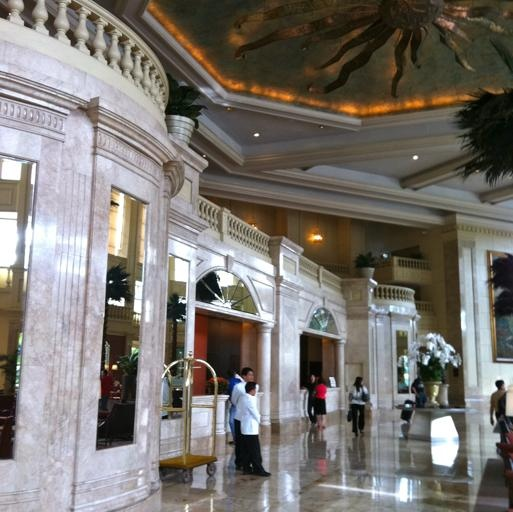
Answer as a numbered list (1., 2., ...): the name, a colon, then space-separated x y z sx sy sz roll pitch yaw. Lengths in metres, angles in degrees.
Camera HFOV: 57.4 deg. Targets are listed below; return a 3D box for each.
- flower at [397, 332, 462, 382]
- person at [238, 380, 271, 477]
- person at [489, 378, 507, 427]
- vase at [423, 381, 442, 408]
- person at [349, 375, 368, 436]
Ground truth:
1. flower: 4.305 2.479 11.281 0.911 1.001 0.985 4 -10 -23
2. person: -0.032 2.440 6.662 0.390 1.282 0.551 0 -10 -2
3. person: 4.808 2.968 9.325 0.313 1.002 2.320 -6 -12 25
4. vase: 4.216 3.301 11.234 0.328 0.567 0.507 -4 -11 19
5. person: 2.667 3.871 12.117 0.484 1.546 2.016 -3 -11 11
